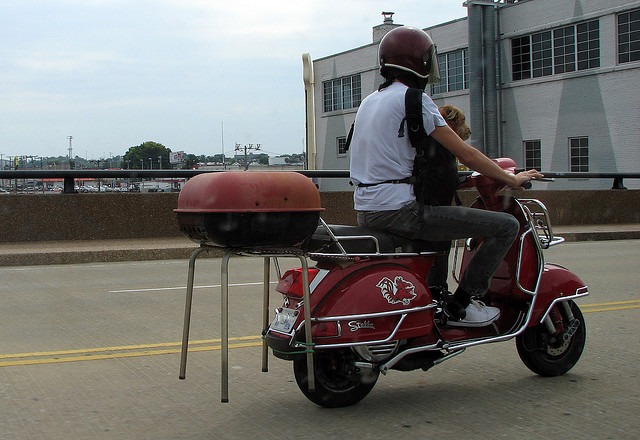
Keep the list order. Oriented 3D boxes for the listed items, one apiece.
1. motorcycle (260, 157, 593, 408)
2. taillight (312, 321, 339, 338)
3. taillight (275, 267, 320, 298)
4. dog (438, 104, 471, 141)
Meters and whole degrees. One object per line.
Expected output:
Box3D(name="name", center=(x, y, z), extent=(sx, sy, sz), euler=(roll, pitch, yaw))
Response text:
Box3D(name="motorcycle", center=(0.862, 0.523, 4.576), extent=(2.498, 1.771, 0.482), euler=(-2, 6, -22))
Box3D(name="taillight", center=(0.044, 0.743, 4.117), extent=(0.172, 0.099, 0.122), euler=(2, -5, -36))
Box3D(name="taillight", center=(-0.141, 0.497, 4.470), extent=(0.278, 0.206, 0.328), euler=(11, -7, -24))
Box3D(name="dog", center=(1.149, -0.827, 5.042), extent=(0.237, 0.336, 0.470), euler=(1, 5, 11))
